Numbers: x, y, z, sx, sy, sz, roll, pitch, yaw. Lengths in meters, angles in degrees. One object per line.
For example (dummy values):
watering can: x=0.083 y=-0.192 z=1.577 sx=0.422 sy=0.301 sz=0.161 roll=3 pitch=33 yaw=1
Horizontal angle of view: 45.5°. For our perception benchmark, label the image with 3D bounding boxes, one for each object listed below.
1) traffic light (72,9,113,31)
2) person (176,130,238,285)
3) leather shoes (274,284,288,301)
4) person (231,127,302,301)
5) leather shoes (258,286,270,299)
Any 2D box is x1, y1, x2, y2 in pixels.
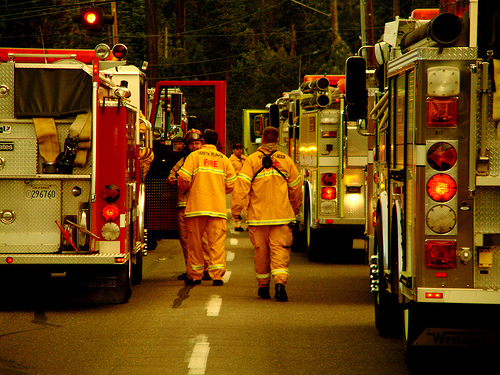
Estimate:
traffic light: x=-3.430 y=-3.738 z=13.210 sx=0.825 sy=0.470 sz=0.466 roll=2 pitch=1 yaw=-6
person: x=-0.805 y=0.356 z=11.077 sx=0.989 sy=2.864 sz=1.012 roll=3 pitch=-10 yaw=-8
leather shoes: x=0.494 y=1.662 z=9.377 sx=0.110 sy=0.246 sz=0.343 roll=0 pitch=1 yaw=5
person: x=0.267 y=0.372 z=9.916 sx=1.076 sy=2.786 sz=0.883 roll=0 pitch=2 yaw=14
leather shoes: x=0.235 y=1.705 z=9.733 sx=0.163 sy=0.175 sz=0.163 roll=-3 pitch=-6 yaw=24
